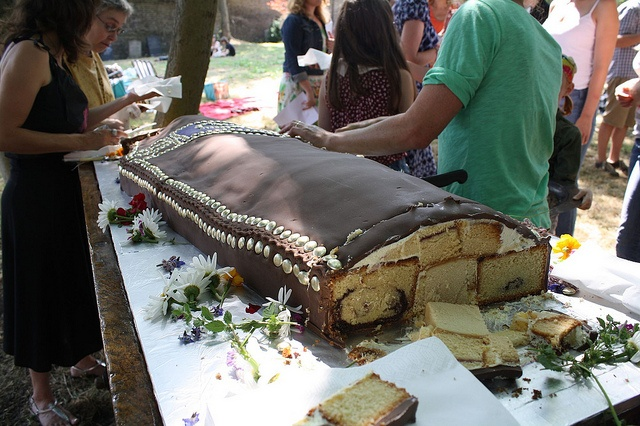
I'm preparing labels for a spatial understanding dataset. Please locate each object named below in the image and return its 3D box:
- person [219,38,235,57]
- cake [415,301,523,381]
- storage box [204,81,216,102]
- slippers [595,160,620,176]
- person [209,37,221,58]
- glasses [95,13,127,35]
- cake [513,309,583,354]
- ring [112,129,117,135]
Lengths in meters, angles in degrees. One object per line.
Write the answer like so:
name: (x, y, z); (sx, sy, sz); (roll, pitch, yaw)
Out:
person: (-3.207, -5.729, 16.228); (0.493, 0.549, 1.180); (-4, 24, -11)
cake: (0.562, 0.467, 1.710); (0.259, 0.104, 0.276); (-1, 27, -32)
storage box: (-2.276, -2.503, 9.668); (0.307, 0.340, 0.216); (5, 24, 9)
slippers: (3.840, -0.606, 6.301); (0.112, 0.133, 0.329); (-34, 45, -8)
person: (-3.662, -5.868, 16.566); (0.293, 0.569, 1.560); (-4, 24, -9)
glasses: (-1.350, -1.186, 2.950); (0.029, 0.096, 0.092); (-37, -3, 28)
cake: (0.861, 0.408, 1.768); (0.144, 0.058, 0.183); (-15, 24, -25)
ring: (-1.316, -0.523, 3.009); (0.026, 0.037, 0.036); (7, 6, 2)
